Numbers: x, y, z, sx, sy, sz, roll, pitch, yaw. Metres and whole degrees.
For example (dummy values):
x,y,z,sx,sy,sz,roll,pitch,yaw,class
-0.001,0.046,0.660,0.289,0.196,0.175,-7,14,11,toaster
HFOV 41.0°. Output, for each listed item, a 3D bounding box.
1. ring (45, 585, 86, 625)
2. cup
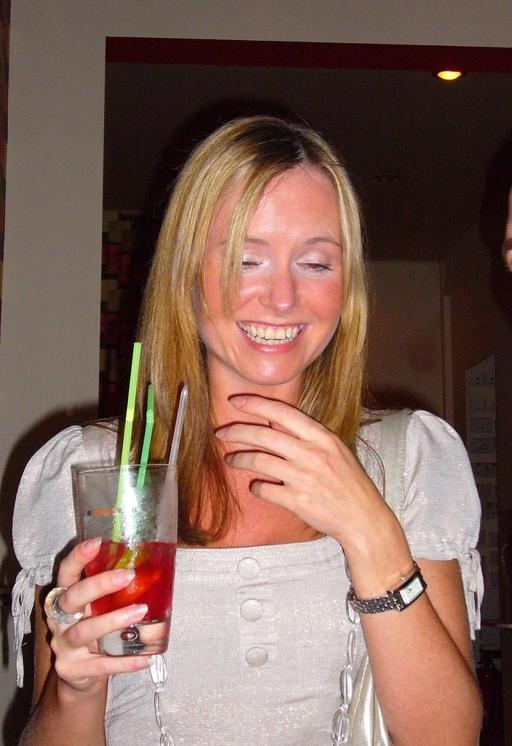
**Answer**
x,y,z,sx,sy,sz,roll,pitch,yaw,class
-0.249,0.313,0.930,0.058,0.057,0.020,16,8,-8,ring
-0.160,0.239,0.871,0.125,0.252,0.079,-3,9,-8,cup
